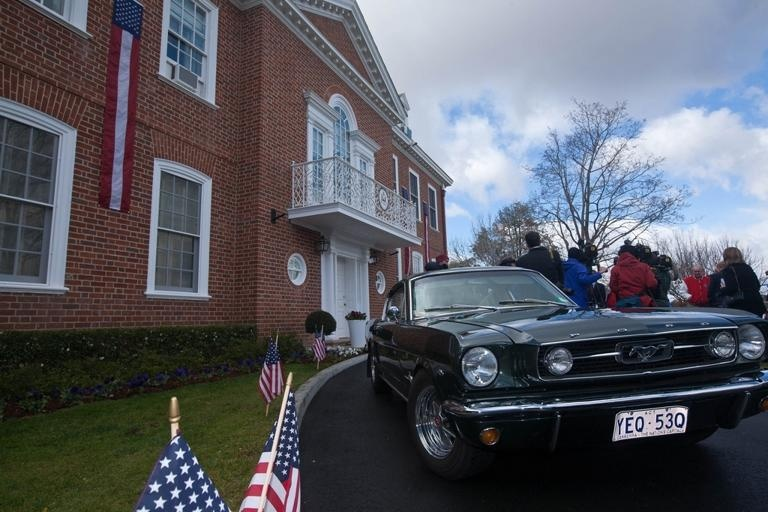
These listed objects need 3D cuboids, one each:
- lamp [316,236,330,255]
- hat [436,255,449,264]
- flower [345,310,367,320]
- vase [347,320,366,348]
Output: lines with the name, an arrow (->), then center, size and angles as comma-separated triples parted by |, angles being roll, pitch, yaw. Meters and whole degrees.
lamp -> -1.970, -0.337, 14.935 | 0.442, 0.681, 0.495 | -2, 0, 0
hat -> 1.471, 0.086, 11.854 | 0.249, 0.197, 0.338 | -1, -1, 29
flower -> -0.892, 1.869, 14.612 | 0.399, 0.220, 0.424 | -4, -8, 16
vase -> -0.819, 2.350, 14.407 | 0.566, 0.790, 0.637 | -1, 2, -5
